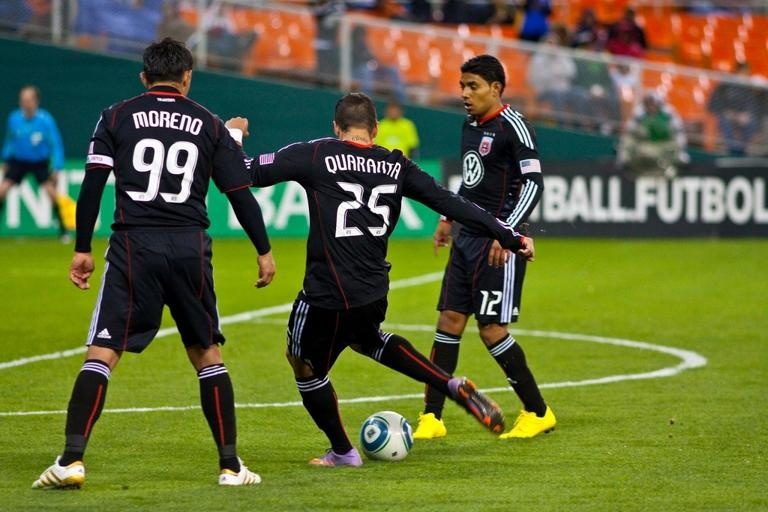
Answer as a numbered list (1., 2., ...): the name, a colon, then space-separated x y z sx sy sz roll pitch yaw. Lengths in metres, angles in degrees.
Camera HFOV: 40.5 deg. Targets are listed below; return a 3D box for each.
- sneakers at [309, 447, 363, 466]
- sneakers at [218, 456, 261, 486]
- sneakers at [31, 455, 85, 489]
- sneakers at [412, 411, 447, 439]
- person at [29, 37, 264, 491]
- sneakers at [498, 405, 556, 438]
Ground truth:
1. sneakers: -0.344 1.515 7.812 0.413 0.154 0.148 2 -7 6
2. sneakers: -1.008 1.536 7.433 0.343 0.187 0.132 0 0 -36
3. sneakers: -2.213 1.533 7.236 0.422 0.153 0.205 -11 44 10
4. sneakers: 0.334 1.390 8.428 0.126 0.167 0.371 -12 -14 43
5. person: -1.601 0.026 7.442 1.505 3.116 0.844 -2 9 -8
6. sneakers: 1.186 1.328 8.420 0.538 0.224 0.182 -9 -1 -12
